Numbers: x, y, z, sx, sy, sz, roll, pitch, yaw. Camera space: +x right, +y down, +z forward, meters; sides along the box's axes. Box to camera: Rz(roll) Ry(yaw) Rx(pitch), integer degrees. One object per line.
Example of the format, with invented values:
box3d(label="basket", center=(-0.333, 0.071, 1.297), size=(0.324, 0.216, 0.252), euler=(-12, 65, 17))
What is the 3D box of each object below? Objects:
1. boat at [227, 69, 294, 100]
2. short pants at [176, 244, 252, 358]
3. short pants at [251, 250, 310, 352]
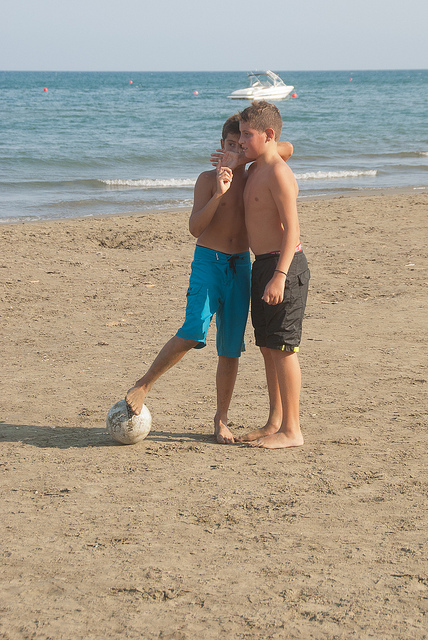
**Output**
box3d(label="boat", center=(3.980, -19.206, 63.317), size=(3.953, 2.331, 6.256), euler=(0, 13, -2))
box3d(label="short pants", center=(-0.007, -0.085, 3.958), size=(0.219, 0.593, 0.439), euler=(9, 17, 31))
box3d(label="short pants", center=(0.332, -0.086, 3.884), size=(0.286, 0.531, 0.352), euler=(1, 14, 3))
